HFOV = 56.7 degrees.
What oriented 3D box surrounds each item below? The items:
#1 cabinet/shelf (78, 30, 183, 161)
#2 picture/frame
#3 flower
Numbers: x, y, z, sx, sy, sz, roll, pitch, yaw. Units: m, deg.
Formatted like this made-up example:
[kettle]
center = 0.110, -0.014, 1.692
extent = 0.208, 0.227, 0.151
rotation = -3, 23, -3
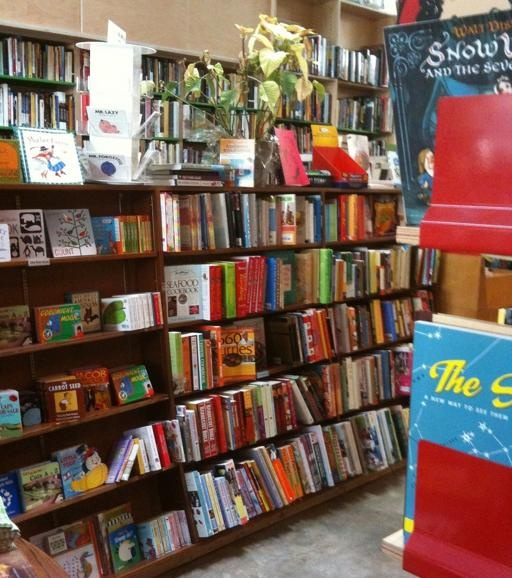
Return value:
[cabinet/shelf]
center = -0.614, -0.864, 2.178
extent = 0.315, 0.494, 0.136
rotation = -1, 4, -12
[picture/frame]
center = -0.906, -0.575, 2.088
extent = 0.049, 0.297, 0.342
rotation = -7, 1, 44
[flower]
center = -0.142, -1.116, 3.368
extent = 1.030, 1.003, 0.814
rotation = -10, 7, -14
